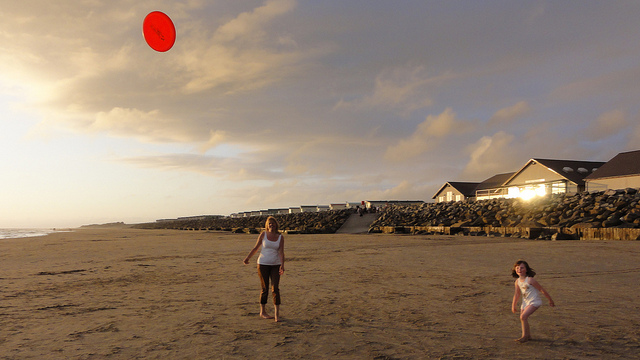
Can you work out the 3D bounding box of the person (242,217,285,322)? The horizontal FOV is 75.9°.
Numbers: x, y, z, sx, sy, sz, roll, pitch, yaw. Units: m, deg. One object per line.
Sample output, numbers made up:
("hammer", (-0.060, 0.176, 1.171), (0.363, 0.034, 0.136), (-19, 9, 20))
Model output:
("person", (-1.637, 2.669, 12.438), (1.018, 3.014, 1.326), (3, -10, -8))
